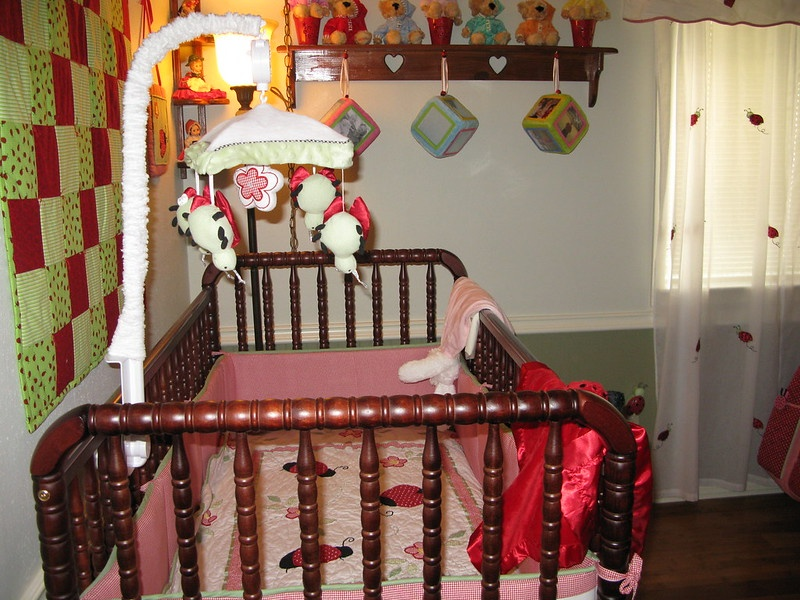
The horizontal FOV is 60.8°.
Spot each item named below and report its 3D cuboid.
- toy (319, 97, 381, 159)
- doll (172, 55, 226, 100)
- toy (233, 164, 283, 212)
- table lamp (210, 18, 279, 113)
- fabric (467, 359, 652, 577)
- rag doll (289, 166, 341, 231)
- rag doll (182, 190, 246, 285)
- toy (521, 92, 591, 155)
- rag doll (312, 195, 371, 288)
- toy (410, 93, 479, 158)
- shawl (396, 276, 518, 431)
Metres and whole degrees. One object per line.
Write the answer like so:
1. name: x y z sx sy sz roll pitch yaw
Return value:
1. toy: -0.181 -0.677 2.661 0.181 0.209 0.319 3 12 19
2. doll: -0.758 -0.845 2.595 0.193 0.189 0.167 -4 11 -17
3. toy: -0.317 -0.248 1.525 0.100 0.101 0.127 -4 11 -14
4. table lamp: -0.545 -0.799 2.401 0.215 0.321 0.233 -4 -4 6
5. fabric: 0.313 0.380 1.680 0.407 0.518 0.496 -2 10 -13
6. rag doll: -0.198 -0.234 1.612 0.120 0.167 0.092 -9 24 -19
7. rag doll: -0.420 -0.173 1.455 0.087 0.168 0.064 -39 3 -25
8. toy: 0.636 -0.731 2.844 0.235 0.242 0.245 -5 12 -21
9. rag doll: -0.116 -0.142 1.624 0.123 0.208 0.077 -20 -15 41
10. toy: 0.185 -0.699 2.732 0.191 0.231 0.229 -10 14 -39
11. shawl: 0.169 0.130 2.317 0.341 0.534 0.442 -1 28 -2
